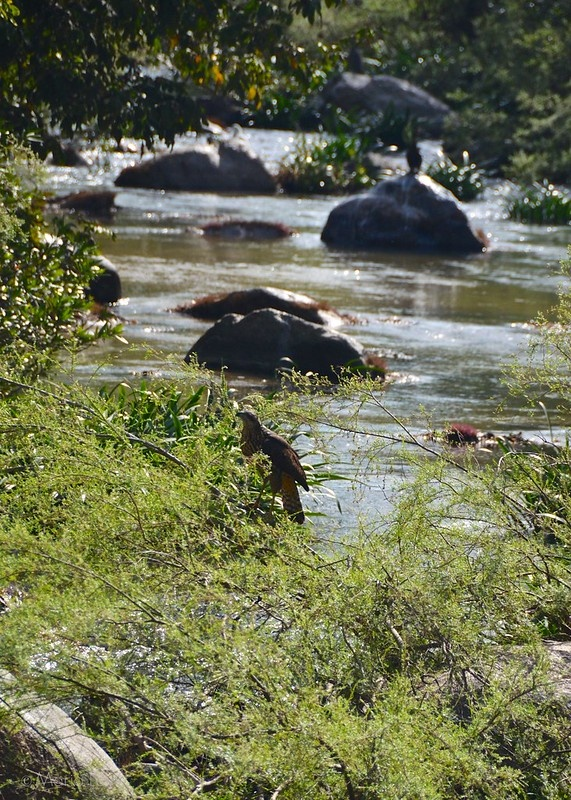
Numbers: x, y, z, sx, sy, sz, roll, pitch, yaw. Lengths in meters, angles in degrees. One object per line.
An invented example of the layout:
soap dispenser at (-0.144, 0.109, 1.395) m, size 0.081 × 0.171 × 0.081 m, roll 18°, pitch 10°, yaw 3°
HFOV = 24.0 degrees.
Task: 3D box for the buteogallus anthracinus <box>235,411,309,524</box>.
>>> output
buteogallus anthracinus at (-0.060, 0.296, 5.336) m, size 0.220 × 0.554 × 0.706 m, roll 3°, pitch 9°, yaw 10°
